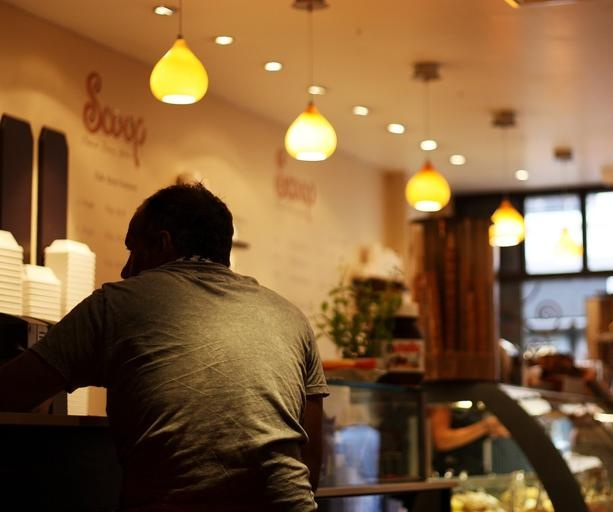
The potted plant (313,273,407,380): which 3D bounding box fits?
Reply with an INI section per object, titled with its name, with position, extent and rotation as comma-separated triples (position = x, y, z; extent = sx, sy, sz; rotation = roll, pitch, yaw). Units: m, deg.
[potted plant]
position = 0.263, 0.329, 4.146
extent = 0.490, 0.623, 0.435
rotation = 3, -17, -8
